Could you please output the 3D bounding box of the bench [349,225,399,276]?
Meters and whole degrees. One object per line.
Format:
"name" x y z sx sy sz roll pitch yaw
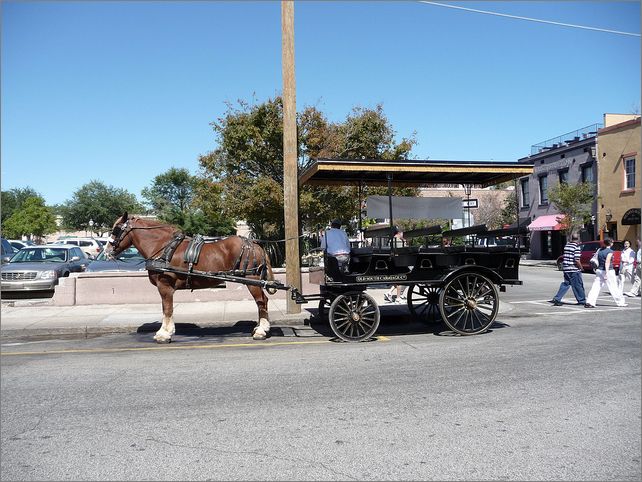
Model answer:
"bench" 1.090 0.226 12.004 0.785 0.921 1.348 -5 2 -22

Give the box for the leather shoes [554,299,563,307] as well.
"leather shoes" 6.797 1.766 15.370 0.139 0.118 0.346 -1 5 -15

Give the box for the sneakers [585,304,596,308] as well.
"sneakers" 7.409 1.771 14.684 0.270 0.117 0.093 -6 -6 37

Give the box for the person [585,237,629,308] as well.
"person" 7.969 0.871 14.855 0.937 1.871 1.594 3 7 29

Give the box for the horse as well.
"horse" -3.261 0.983 13.741 3.996 3.246 1.403 0 -1 -6

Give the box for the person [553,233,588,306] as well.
"person" 7.309 0.935 15.611 0.828 1.826 1.467 2 7 24

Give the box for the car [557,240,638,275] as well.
"car" 10.062 0.611 19.337 1.575 1.264 2.541 0 4 -32
